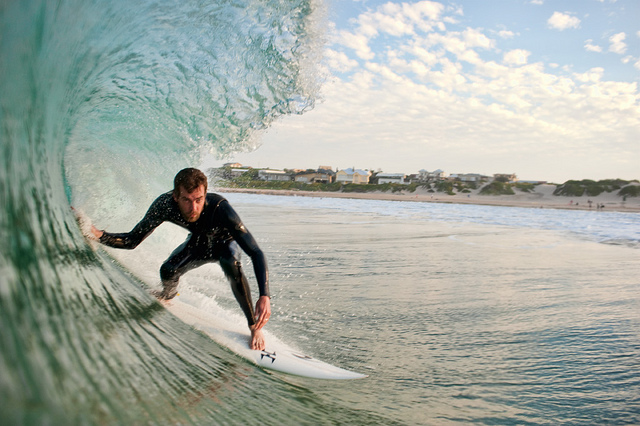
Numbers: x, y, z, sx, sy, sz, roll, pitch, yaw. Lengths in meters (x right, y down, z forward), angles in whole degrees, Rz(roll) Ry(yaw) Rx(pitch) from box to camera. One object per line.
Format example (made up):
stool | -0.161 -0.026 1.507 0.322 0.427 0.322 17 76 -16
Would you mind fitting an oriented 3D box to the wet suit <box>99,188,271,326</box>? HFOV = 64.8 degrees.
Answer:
wet suit | -1.348 0.503 5.998 1.890 1.542 0.736 5 15 14
